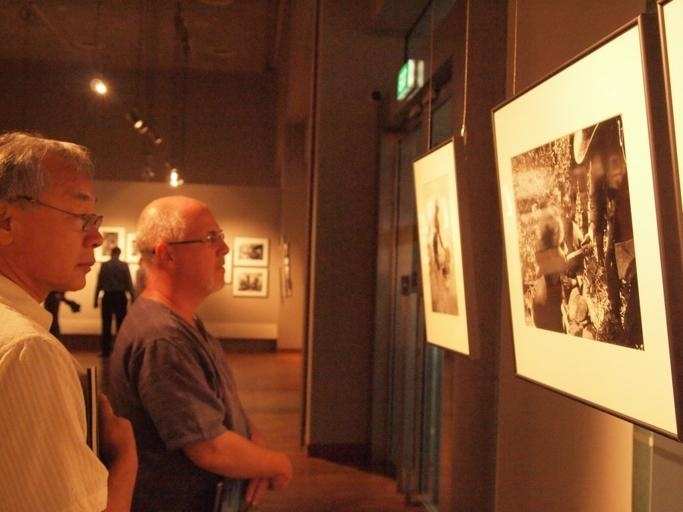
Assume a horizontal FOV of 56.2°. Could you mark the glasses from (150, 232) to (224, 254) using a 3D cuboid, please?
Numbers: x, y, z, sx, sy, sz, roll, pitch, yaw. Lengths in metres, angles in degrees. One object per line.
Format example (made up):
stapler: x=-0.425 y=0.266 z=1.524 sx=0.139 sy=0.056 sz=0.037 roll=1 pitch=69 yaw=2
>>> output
glasses: x=-0.641 y=-0.066 z=2.759 sx=0.177 sy=0.052 sz=0.136 roll=-13 pitch=6 yaw=-14
